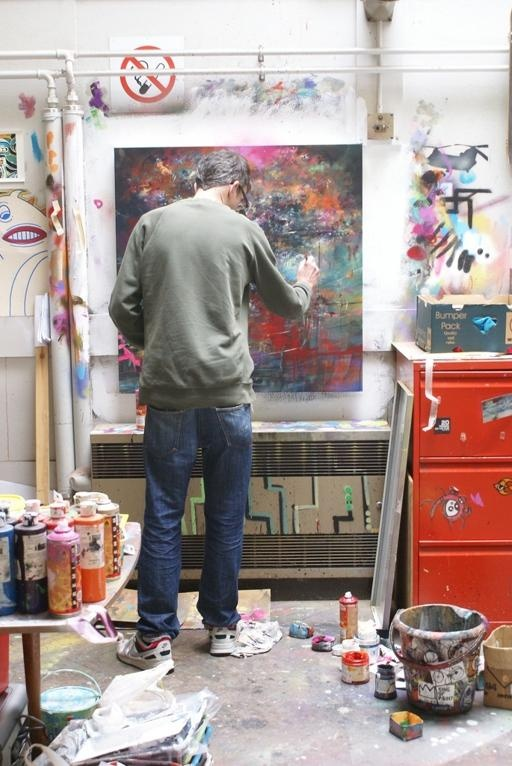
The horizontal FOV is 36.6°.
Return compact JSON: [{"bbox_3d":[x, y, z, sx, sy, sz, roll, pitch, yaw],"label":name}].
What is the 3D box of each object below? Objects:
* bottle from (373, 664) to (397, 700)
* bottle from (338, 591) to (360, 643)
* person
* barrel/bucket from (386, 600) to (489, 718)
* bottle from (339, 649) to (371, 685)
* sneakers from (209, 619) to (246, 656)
[{"bbox_3d":[0.410,0.956,2.459,0.087,0.121,0.089,0,5,0],"label":"bottle"},{"bbox_3d":[0.337,0.866,2.809,0.066,0.181,0.141,2,4,8],"label":"bottle"},{"bbox_3d":[-0.193,0.186,2.676,0.618,1.621,0.315,0,4,-11],"label":"person"},{"bbox_3d":[0.587,0.851,2.462,0.289,0.256,0.289,-1,0,0],"label":"barrel/bucket"},{"bbox_3d":[0.325,0.944,2.583,0.086,0.080,0.090,-2,1,-26],"label":"bottle"},{"bbox_3d":[-0.116,0.941,2.845,0.057,0.075,0.160,1,6,4],"label":"sneakers"}]
